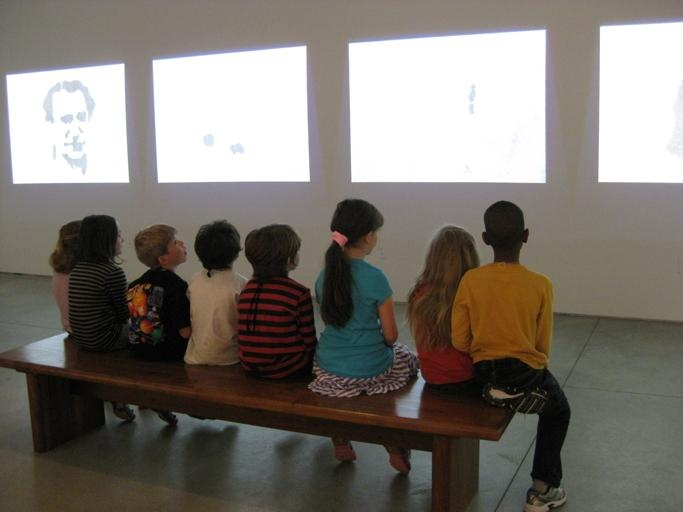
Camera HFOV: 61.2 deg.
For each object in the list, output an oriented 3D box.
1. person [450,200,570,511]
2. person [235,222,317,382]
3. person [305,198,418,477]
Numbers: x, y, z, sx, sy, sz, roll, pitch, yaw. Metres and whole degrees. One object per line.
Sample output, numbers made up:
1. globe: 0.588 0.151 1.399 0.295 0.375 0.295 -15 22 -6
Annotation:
1. person: 0.831 0.494 2.807 0.579 1.488 0.354 4 13 19
2. person: -0.346 0.249 3.052 0.414 0.804 0.281 -3 13 -11
3. person: 0.110 0.203 2.906 0.544 0.945 0.359 1 12 6
